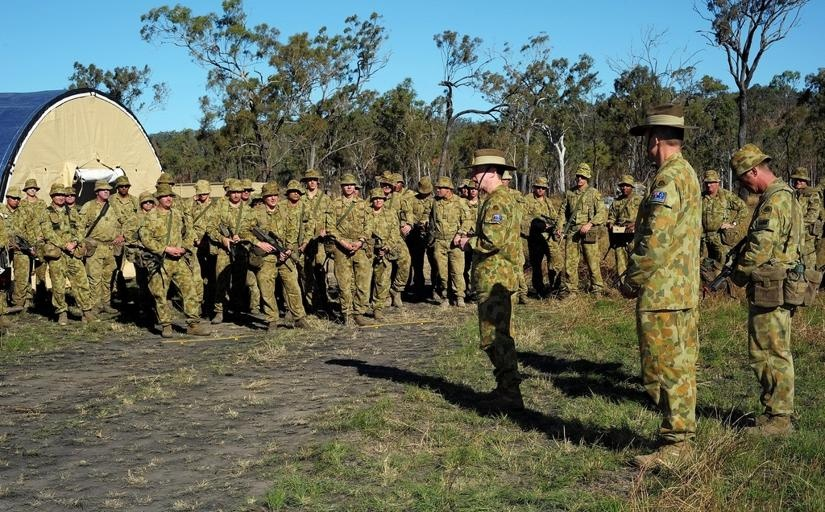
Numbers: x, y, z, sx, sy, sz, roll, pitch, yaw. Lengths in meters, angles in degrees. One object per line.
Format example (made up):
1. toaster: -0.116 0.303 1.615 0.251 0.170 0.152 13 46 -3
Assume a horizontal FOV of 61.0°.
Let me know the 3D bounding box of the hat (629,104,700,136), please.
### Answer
1. hat: 3.338 -1.896 9.358 0.850 0.327 0.772 4 18 8

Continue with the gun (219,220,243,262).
1. gun: -3.953 -0.318 15.161 0.315 1.090 0.424 -21 17 -9

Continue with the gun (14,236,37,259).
1. gun: -8.349 -0.189 15.074 0.319 0.250 0.474 15 -17 11

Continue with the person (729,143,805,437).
1. person: 5.052 0.423 9.920 1.017 3.891 1.435 2 13 13

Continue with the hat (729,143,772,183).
1. hat: 4.859 -1.406 10.204 0.512 0.294 0.454 -26 7 23

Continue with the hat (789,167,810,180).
1. hat: 8.656 -1.827 15.490 0.475 0.264 0.466 8 4 8

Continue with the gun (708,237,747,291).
1. gun: 5.795 0.145 12.936 0.202 0.560 1.565 18 50 36

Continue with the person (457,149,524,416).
1. person: 1.248 0.346 10.536 0.836 3.810 1.115 0 13 4

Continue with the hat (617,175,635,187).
1. hat: 4.978 -1.752 16.267 0.365 0.264 0.504 0 9 11

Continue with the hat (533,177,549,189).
1. hat: 3.275 -1.918 17.904 0.319 0.159 0.385 3 -1 2
